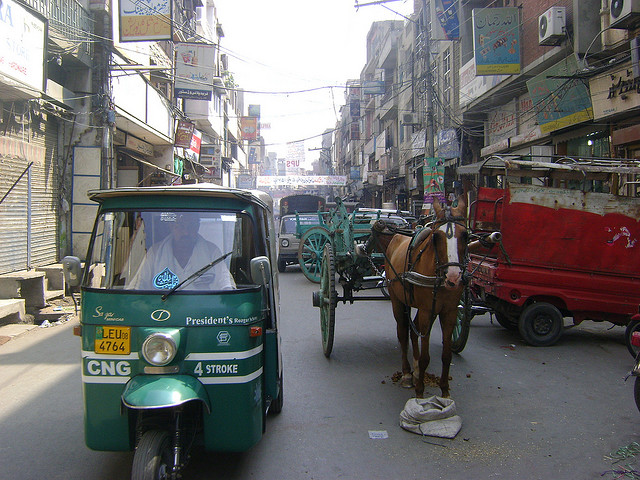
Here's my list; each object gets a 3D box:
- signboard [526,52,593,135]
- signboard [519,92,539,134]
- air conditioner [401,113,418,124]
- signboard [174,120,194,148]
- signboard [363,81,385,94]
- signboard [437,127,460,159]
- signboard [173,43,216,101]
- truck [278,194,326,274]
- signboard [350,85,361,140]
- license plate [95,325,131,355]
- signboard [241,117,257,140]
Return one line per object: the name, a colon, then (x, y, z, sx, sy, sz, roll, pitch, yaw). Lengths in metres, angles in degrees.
signboard: (6.449, -3.921, 15.316, 0.571, 2.115, 2.293, -3, 13, -12)
signboard: (6.687, -4.180, 18.586, 0.586, 1.266, 1.171, -2, 8, 13)
air conditioner: (4.695, -6.342, 29.494, 0.729, 0.484, 3.174, 2, 14, 10)
signboard: (-5.373, -4.179, 22.321, 0.820, 1.289, 0.165, 13, 7, -9)
signboard: (3.338, -9.404, 34.862, 1.159, 0.760, 1.342, 3, 14, 12)
signboard: (5.024, -3.790, 22.319, 0.132, 1.177, 1.464, -1, 5, -25)
signboard: (-5.298, -7.126, 23.938, 1.666, 2.279, 1.336, -3, 13, -10)
truck: (-0.583, -0.091, 20.611, 1.678, 3.213, 3.256, -2, -5, 1)
signboard: (3.101, -10.702, 50.785, 1.202, 6.226, 1.826, -1, -26, 5)
license plate: (-2.066, 1.017, 5.697, 0.244, 0.219, 0.037, -1, -9, 5)
signboard: (-5.321, -8.295, 42.356, 1.131, 1.551, 1.971, -2, 13, -10)
